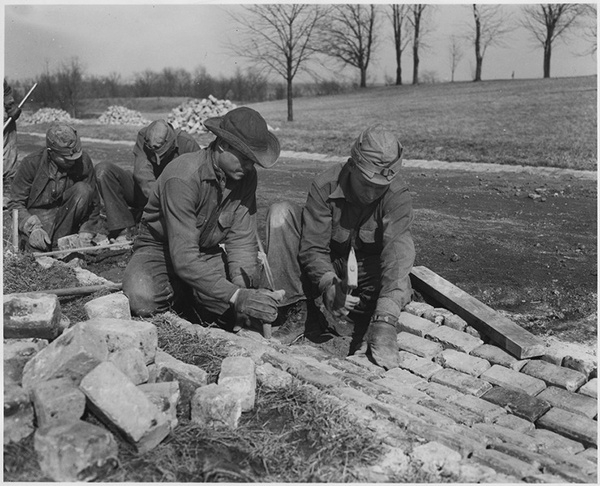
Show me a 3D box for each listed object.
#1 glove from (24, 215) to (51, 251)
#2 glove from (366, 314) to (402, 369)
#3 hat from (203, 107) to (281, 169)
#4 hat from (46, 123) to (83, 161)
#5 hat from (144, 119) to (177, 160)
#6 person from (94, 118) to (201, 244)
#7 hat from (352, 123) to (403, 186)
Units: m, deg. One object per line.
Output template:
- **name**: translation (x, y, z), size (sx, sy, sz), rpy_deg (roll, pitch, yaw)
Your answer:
- **glove**: translation (-2.971, -0.137, 6.299), size (0.245, 0.114, 0.448), rpy_deg (-15, 74, -28)
- **glove**: translation (0.613, 0.723, 4.109), size (0.245, 0.336, 0.234), rpy_deg (3, 12, 9)
- **hat**: translation (-0.449, -0.854, 4.335), size (0.566, 0.247, 0.442), rpy_deg (39, 7, 16)
- **hat**: translation (-2.744, -1.169, 6.518), size (0.368, 0.414, 0.351), rpy_deg (-4, 13, -25)
- **hat**: translation (-1.575, -1.167, 6.327), size (0.290, 0.294, 0.457), rpy_deg (2, 50, -4)
- **person**: translation (-1.811, -0.783, 6.824), size (1.120, 1.518, 1.065), rpy_deg (12, 29, -4)
- **hat**: translation (0.589, -0.646, 4.288), size (0.294, 0.259, 0.485), rpy_deg (-3, 58, -7)
